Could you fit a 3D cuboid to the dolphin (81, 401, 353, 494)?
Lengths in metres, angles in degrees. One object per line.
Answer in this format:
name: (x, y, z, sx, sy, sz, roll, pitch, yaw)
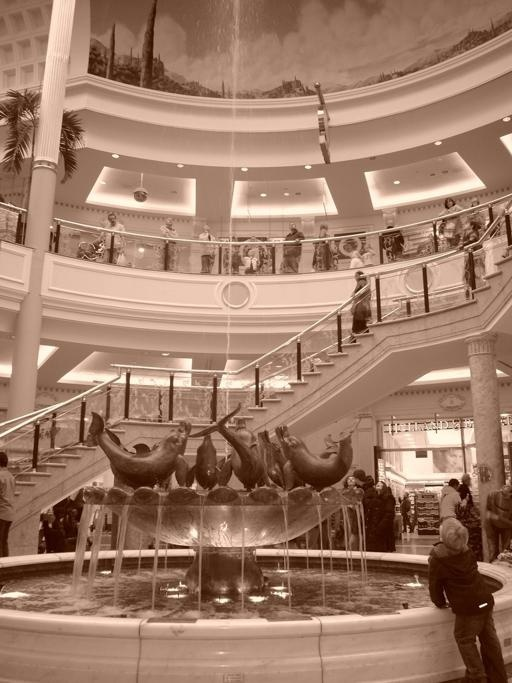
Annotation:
dolphin: (-0.199, 0.687, 3.362, 1.602, 0.460, 0.532, 5, -17, -19)
